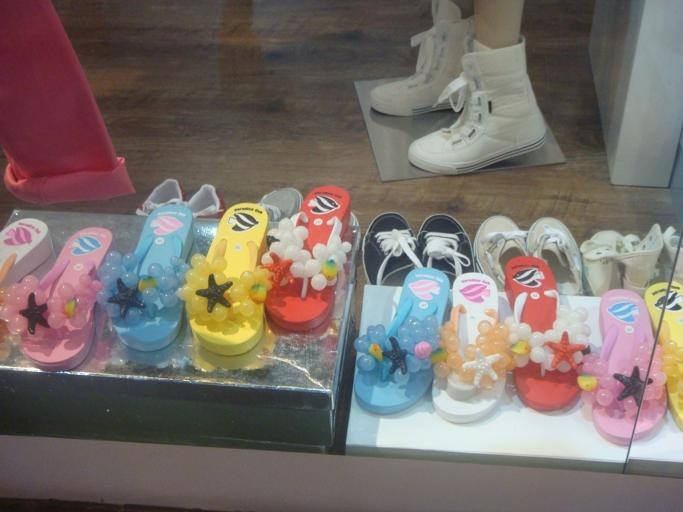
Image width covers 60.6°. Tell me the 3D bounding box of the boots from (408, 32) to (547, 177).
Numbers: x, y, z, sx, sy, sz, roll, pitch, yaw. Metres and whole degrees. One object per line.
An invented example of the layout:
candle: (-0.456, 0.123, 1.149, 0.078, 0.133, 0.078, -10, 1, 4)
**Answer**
boots: (0.386, -0.419, 1.659, 0.408, 0.309, 0.161, -14, 30, -3)

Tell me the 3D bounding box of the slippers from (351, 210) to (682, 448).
slippers: (0.316, 0.053, 1.173, 0.601, 0.355, 0.587, -1, 51, 7)
